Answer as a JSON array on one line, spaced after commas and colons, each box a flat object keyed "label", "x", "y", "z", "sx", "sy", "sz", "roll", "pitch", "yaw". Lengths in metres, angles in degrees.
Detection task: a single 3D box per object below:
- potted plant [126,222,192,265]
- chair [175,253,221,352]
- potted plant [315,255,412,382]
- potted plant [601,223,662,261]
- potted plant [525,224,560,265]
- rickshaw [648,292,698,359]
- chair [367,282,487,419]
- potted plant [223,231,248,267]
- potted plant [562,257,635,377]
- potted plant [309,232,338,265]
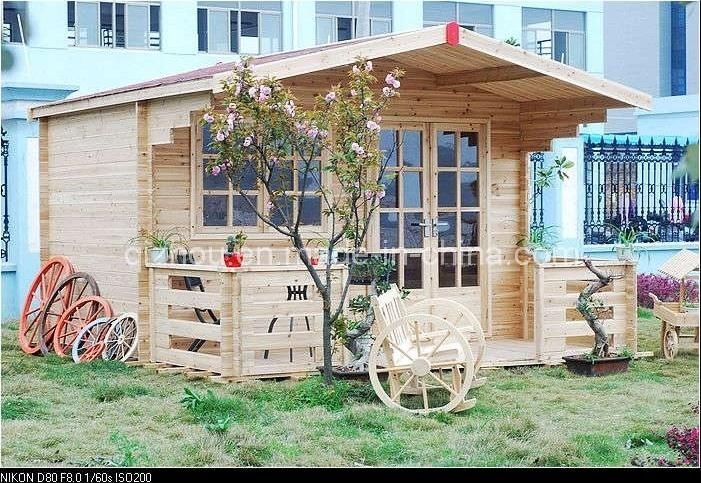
[{"label": "potted plant", "x": -2.421, "y": 0.050, "z": 9.633, "sx": 0.649, "sy": 0.331, "sz": 0.570, "roll": 2, "pitch": -1, "yaw": -22}, {"label": "chair", "x": -1.968, "y": 0.819, "z": 9.600, "sx": 0.515, "sy": 1.326, "sz": 1.074, "roll": -1, "pitch": 3, "yaw": -12}, {"label": "potted plant", "x": 0.227, "y": 0.869, "z": 9.329, "sx": 1.419, "sy": 2.012, "sz": 1.174, "roll": 0, "pitch": -2, "yaw": 14}, {"label": "potted plant", "x": 5.234, "y": 0.015, "z": 14.045, "sx": 0.815, "sy": 0.386, "sz": 0.807, "roll": 2, "pitch": -1, "yaw": -45}, {"label": "potted plant", "x": 2.831, "y": 0.061, "z": 11.165, "sx": 0.654, "sy": 0.650, "sz": 0.675, "roll": 0, "pitch": -2, "yaw": 43}, {"label": "rickshaw", "x": 4.668, "y": 1.227, "z": 10.587, "sx": 0.628, "sy": 0.785, "sz": 1.019, "roll": 0, "pitch": -1, "yaw": -9}, {"label": "chair", "x": 0.827, "y": 1.177, "z": 8.161, "sx": 1.033, "sy": 1.245, "sz": 1.106, "roll": -3, "pitch": 4, "yaw": 13}, {"label": "potted plant", "x": -1.404, "y": 0.099, "z": 9.027, "sx": 0.299, "sy": 0.412, "sz": 0.298, "roll": -2, "pitch": 10, "yaw": -43}, {"label": "potted plant", "x": 3.090, "y": 0.937, "z": 9.302, "sx": 0.772, "sy": 1.422, "sz": 0.430, "roll": -1, "pitch": 3, "yaw": -17}, {"label": "potted plant", "x": -0.427, "y": 0.081, "z": 9.860, "sx": 0.410, "sy": 0.391, "sz": 0.400, "roll": 0, "pitch": 2, "yaw": -18}]
